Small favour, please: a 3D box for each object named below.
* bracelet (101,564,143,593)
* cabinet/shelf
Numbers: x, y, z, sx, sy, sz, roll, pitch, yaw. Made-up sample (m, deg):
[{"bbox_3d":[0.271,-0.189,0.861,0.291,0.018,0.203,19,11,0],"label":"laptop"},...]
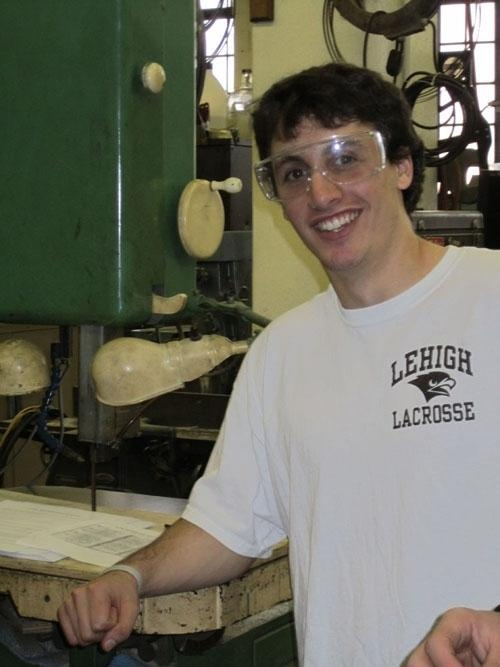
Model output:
[{"bbox_3d":[-0.208,0.404,1.291,0.053,0.033,0.049,5,-28,-12],"label":"bracelet"},{"bbox_3d":[-0.127,-0.685,3.586,0.232,0.411,0.225,9,22,24],"label":"cabinet/shelf"}]
